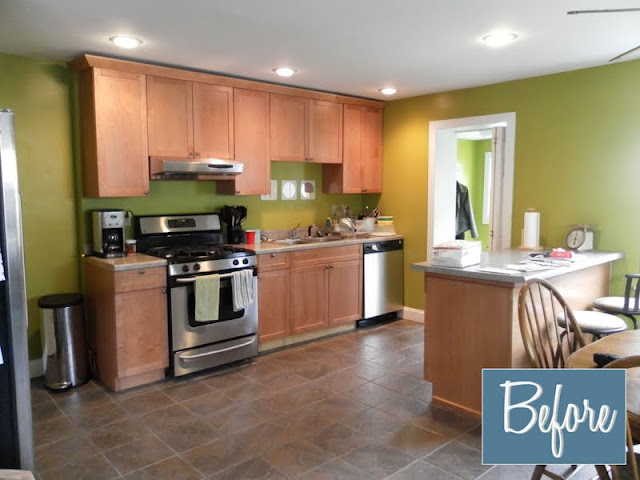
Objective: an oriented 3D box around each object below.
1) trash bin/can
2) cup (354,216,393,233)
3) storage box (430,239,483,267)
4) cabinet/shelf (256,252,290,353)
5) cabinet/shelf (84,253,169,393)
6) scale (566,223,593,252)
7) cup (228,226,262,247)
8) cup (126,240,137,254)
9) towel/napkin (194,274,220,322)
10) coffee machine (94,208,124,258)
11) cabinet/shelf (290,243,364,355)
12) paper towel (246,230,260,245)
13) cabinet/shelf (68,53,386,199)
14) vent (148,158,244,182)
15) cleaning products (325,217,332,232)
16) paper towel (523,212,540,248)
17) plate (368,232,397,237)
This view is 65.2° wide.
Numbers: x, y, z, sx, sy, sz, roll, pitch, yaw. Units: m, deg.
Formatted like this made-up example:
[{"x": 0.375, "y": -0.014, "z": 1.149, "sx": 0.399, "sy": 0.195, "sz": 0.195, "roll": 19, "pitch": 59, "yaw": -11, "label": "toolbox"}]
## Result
[{"x": -2.080, "y": 0.831, "z": 4.057, "sx": 0.325, "sy": 0.726, "sz": 0.305, "roll": -5, "pitch": 12, "yaw": -25, "label": "trash bin/can"}, {"x": 0.666, "y": -0.171, "z": 5.889, "sx": 0.292, "sy": 0.122, "sz": 0.292, "roll": -1, "pitch": 3, "yaw": 0, "label": "cup"}, {"x": 1.032, "y": 0.093, "z": 3.793, "sx": 0.305, "sy": 0.175, "sz": 0.358, "roll": 7, "pitch": 12, "yaw": 35, "label": "storage box"}, {"x": -0.447, "y": 0.537, "z": 4.825, "sx": 0.408, "sy": 0.825, "sz": 0.111, "roll": -10, "pitch": 15, "yaw": -41, "label": "cabinet/shelf"}, {"x": -1.611, "y": 0.659, "z": 4.179, "sx": 0.522, "sy": 1.036, "sz": 0.584, "roll": -8, "pitch": 13, "yaw": -36, "label": "cabinet/shelf"}, {"x": 2.287, "y": -0.002, "z": 4.544, "sx": 0.224, "sy": 0.266, "sz": 0.285, "roll": 3, "pitch": -2, "yaw": -24, "label": "scale"}, {"x": -0.760, "y": -0.030, "z": 5.089, "sx": 0.220, "sy": 0.131, "sz": 0.221, "roll": 1, "pitch": -1, "yaw": 0, "label": "cup"}, {"x": -1.636, "y": 0.064, "z": 4.368, "sx": 0.116, "sy": 0.115, "sz": 0.114, "roll": 2, "pitch": 5, "yaw": 0, "label": "cup"}, {"x": -0.939, "y": 0.504, "z": 4.184, "sx": 0.236, "sy": 0.416, "sz": 0.132, "roll": -4, "pitch": 12, "yaw": -22, "label": "towel/napkin"}, {"x": -1.825, "y": -0.065, "z": 4.219, "sx": 0.326, "sy": 0.391, "sz": 0.253, "roll": 0, "pitch": 11, "yaw": -1, "label": "coffee machine"}, {"x": 0.034, "y": 0.607, "z": 5.146, "sx": 1.104, "sy": 0.885, "sz": 0.423, "roll": -3, "pitch": 4, "yaw": -43, "label": "cabinet/shelf"}, {"x": -0.691, "y": -0.034, "z": 5.122, "sx": 0.129, "sy": 0.098, "sz": 0.150, "roll": -2, "pitch": -1, "yaw": -25, "label": "paper towel"}, {"x": -0.722, "y": -1.015, "z": 4.910, "sx": 2.931, "sy": 1.205, "sz": 0.518, "roll": -7, "pitch": 13, "yaw": -35, "label": "cabinet/shelf"}, {"x": -1.105, "y": -0.639, "z": 4.526, "sx": 0.818, "sy": 0.213, "sz": 0.347, "roll": -9, "pitch": 14, "yaw": -44, "label": "vent"}, {"x": 0.105, "y": -0.182, "z": 5.985, "sx": 0.085, "sy": 0.165, "sz": 0.052, "roll": -2, "pitch": 11, "yaw": -11, "label": "cleaning products"}, {"x": 1.972, "y": -0.092, "z": 4.663, "sx": 0.139, "sy": 0.342, "sz": 0.145, "roll": 4, "pitch": 12, "yaw": 21, "label": "paper towel"}, {"x": 0.739, "y": -0.061, "z": 5.805, "sx": 0.306, "sy": 0.036, "sz": 0.267, "roll": 1, "pitch": 10, "yaw": 4, "label": "plate"}]
